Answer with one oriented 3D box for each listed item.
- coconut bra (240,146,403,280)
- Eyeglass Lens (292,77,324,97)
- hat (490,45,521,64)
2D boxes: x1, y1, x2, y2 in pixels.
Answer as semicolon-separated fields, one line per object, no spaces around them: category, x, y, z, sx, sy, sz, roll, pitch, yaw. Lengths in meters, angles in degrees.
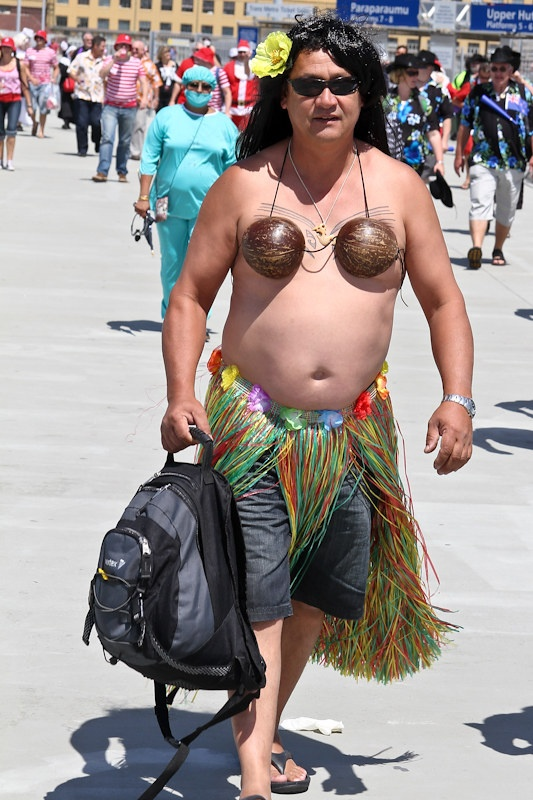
coconut bra;0.109;-0.351;1.731;0.372;0.262;0.127;0;-11;-6
Eyeglass Lens;0.083;-0.603;1.766;0.064;0.022;0.059;1;5;-6
hat;2.729;-3.929;10.355;0.319;0.131;0.351;6;-13;14
